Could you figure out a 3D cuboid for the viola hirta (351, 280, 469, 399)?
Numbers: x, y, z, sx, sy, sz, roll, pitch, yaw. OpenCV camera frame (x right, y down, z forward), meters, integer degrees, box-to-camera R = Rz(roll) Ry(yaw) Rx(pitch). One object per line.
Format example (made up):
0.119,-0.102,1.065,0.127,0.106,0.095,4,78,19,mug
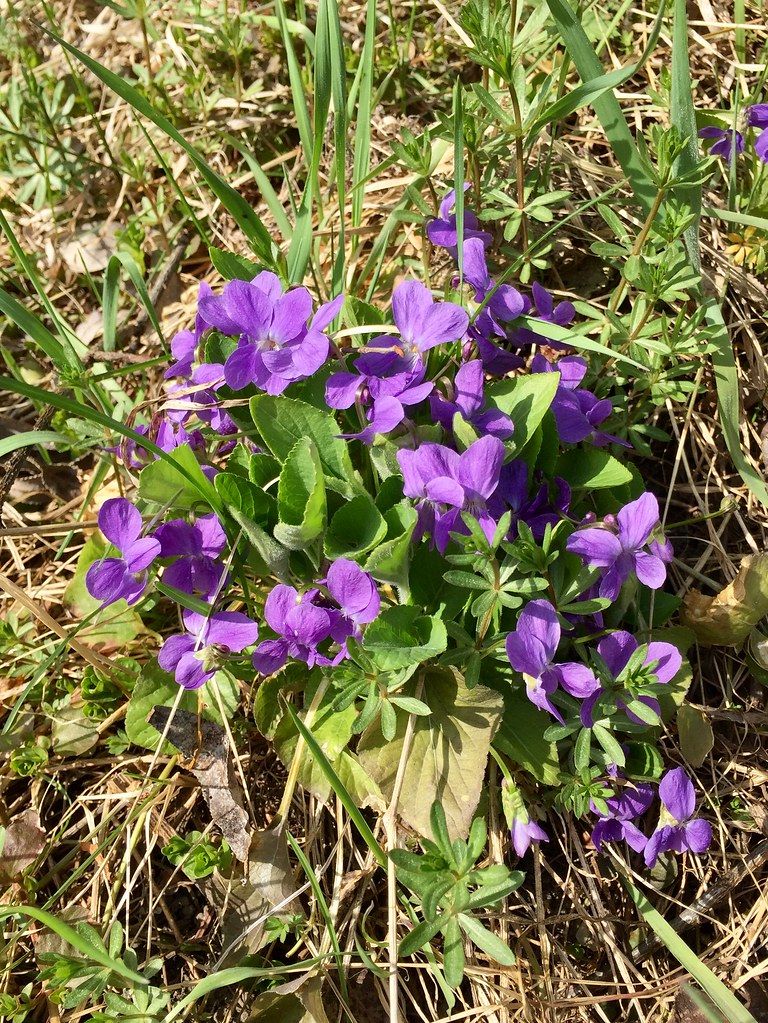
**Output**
0.052,-0.357,1.859,0.274,0.274,0.116,-21,98,-13,viola hirta

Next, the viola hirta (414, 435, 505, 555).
0.154,-0.036,1.644,0.197,0.096,0.191,-7,109,20,viola hirta

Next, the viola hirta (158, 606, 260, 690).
-0.357,0.279,1.779,0.183,0.076,0.177,-35,82,-9,viola hirta

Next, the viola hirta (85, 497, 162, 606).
-0.534,0.090,1.804,0.102,0.210,0.197,9,58,-30,viola hirta

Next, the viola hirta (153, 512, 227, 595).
-0.422,0.106,1.944,0.163,0.172,0.193,-9,70,3,viola hirta

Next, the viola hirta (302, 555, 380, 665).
-0.066,0.182,1.728,0.191,0.072,0.190,-3,100,9,viola hirta

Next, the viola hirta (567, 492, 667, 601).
0.484,0.088,1.753,0.198,0.141,0.158,-30,70,-5,viola hirta
